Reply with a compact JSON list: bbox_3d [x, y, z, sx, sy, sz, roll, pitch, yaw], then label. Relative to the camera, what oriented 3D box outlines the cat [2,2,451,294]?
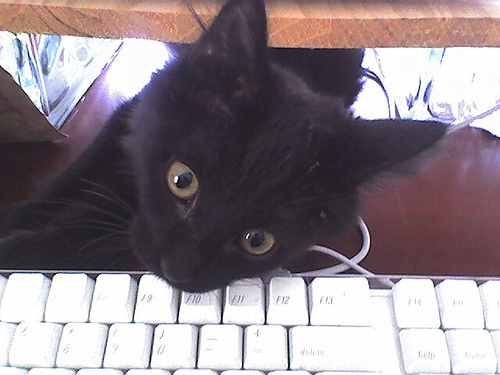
[{"bbox_3d":[0.136,-0.236,1.455,1.252,0.587,0.452,-25,102,-49],"label":"cat"}]
